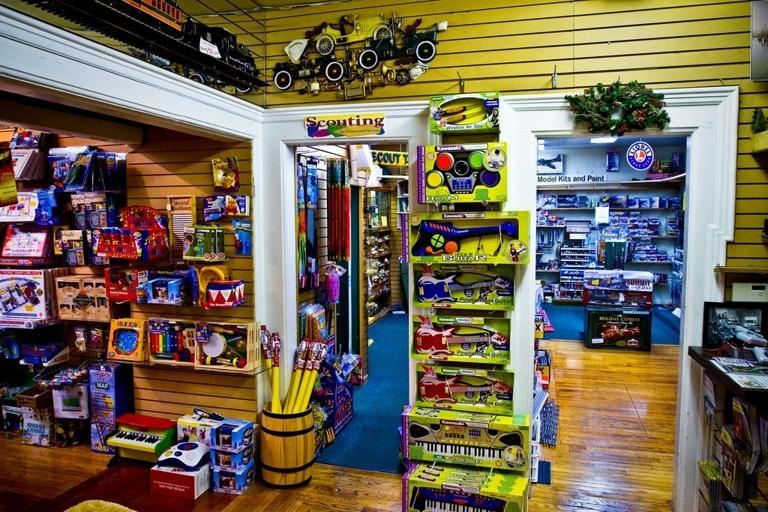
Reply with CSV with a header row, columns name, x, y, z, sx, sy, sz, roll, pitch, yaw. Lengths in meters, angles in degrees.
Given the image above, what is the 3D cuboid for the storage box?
name,x,y,z,sx,sy,sz,roll,pitch,yaw
storage box,-1.857,2.105,5.957,1.026,0.684,0.741,2,2,17

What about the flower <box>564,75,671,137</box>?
name,x,y,z,sx,sy,sz,roll,pitch,yaw
flower,2.334,-1.410,5.737,0.860,0.378,0.878,5,7,29
